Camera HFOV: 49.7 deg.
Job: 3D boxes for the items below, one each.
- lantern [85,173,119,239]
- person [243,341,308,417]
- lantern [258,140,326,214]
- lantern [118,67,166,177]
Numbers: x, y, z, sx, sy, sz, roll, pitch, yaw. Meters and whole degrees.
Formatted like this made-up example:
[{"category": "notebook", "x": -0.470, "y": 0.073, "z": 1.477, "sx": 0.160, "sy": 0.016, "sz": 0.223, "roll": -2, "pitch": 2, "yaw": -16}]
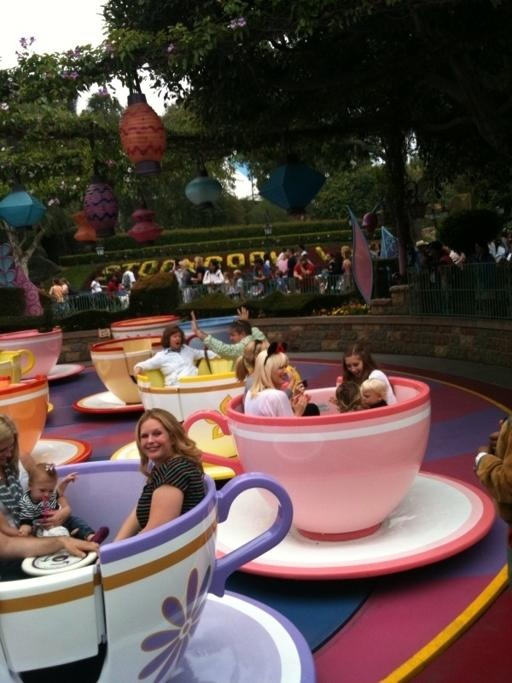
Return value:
[{"category": "lantern", "x": -2.123, "y": -1.882, "z": 7.624, "sx": 0.447, "sy": 0.846, "sz": 0.390, "roll": -7, "pitch": 5, "yaw": -15}, {"category": "person", "x": 0.097, "y": 0.252, "z": 3.169, "sx": 0.371, "sy": 0.478, "sz": 0.878, "roll": -6, "pitch": 4, "yaw": 4}, {"category": "lantern", "x": 0.440, "y": -1.994, "z": 7.280, "sx": 0.815, "sy": 0.734, "sz": 0.836, "roll": -23, "pitch": -6, "yaw": 25}, {"category": "lantern", "x": -1.210, "y": -2.276, "z": 5.924, "sx": 0.463, "sy": 0.595, "sz": 0.302, "roll": -7, "pitch": 5, "yaw": -9}]
